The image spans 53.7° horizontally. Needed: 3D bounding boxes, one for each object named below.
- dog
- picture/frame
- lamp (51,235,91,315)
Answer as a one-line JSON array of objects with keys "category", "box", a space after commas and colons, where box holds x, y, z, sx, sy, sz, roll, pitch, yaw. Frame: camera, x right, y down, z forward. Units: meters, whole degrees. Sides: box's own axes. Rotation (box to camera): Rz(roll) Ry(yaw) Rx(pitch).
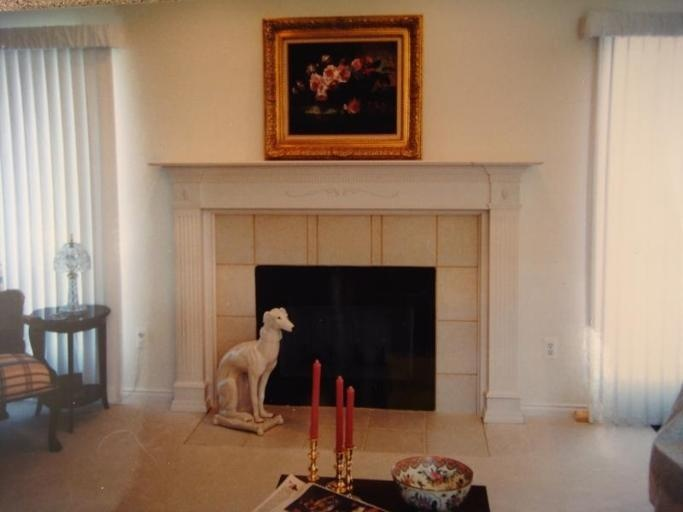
[{"category": "dog", "box": [-0.426, 0.521, 3.227, 0.355, 0.551, 0.221, 0, 3, -10]}, {"category": "picture/frame", "box": [0.020, -0.846, 3.248, 0.638, 0.579, 0.055, 0, 8, 3]}, {"category": "lamp", "box": [-1.211, 0.082, 3.040, 0.200, 0.325, 0.206, -2, 0, -16]}]
